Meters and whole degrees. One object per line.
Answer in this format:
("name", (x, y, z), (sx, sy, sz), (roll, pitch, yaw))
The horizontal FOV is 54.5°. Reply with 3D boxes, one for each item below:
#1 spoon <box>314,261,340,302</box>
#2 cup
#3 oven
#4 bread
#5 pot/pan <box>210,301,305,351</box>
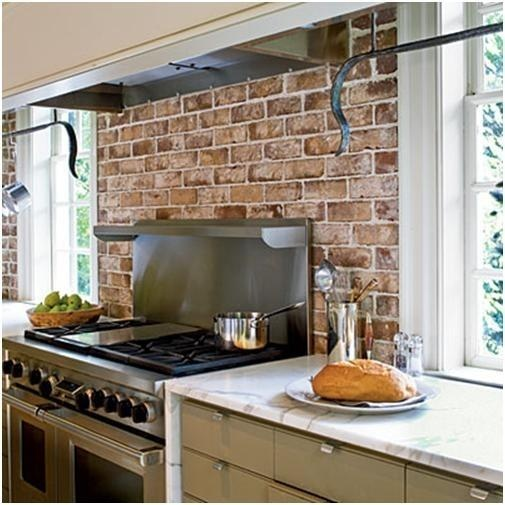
("spoon", (0.277, 0.104, 1.838), (0.091, 0.149, 0.238), (-3, -3, 7))
("cup", (0.329, 0.269, 1.668), (0.156, 0.203, 0.232), (-3, -3, 12))
("oven", (-0.602, 0.703, 1.799), (0.702, 0.423, 0.358), (-3, -6, 44))
("bread", (0.270, 0.306, 1.233), (0.179, 0.059, 0.121), (0, -6, 17))
("pot/pan", (0.004, 0.270, 1.856), (0.342, 0.164, 0.170), (-1, -3, 24))
